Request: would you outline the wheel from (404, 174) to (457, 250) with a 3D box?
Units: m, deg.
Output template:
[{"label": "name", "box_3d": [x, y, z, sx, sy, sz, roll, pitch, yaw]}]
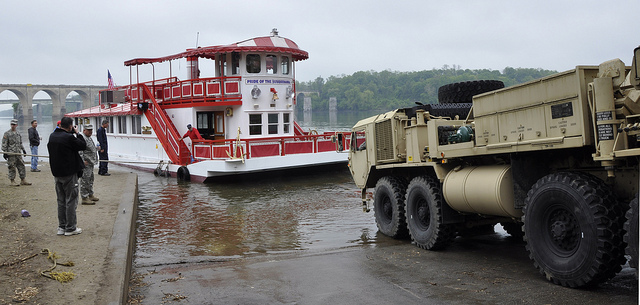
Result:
[{"label": "wheel", "box_3d": [3.232, 1.744, 14.540, 0.765, 1.979, 2.268, 0, 1, -14]}]

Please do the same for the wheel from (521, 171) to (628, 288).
[{"label": "wheel", "box_3d": [5.961, 1.800, 11.532, 0.786, 2.284, 2.228, -6, -21, -36]}]

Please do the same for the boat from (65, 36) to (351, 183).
[{"label": "boat", "box_3d": [-6.036, -2.510, 27.613, 12.816, 7.440, 6.009, 5, 12, 35]}]

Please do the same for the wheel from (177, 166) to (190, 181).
[{"label": "wheel", "box_3d": [-6.907, 1.082, 25.383, 0.307, 0.737, 0.830, 0, 2, -35]}]

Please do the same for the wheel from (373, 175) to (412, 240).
[{"label": "wheel", "box_3d": [2.364, 1.762, 15.765, 0.749, 1.889, 2.107, -3, -5, -12]}]
